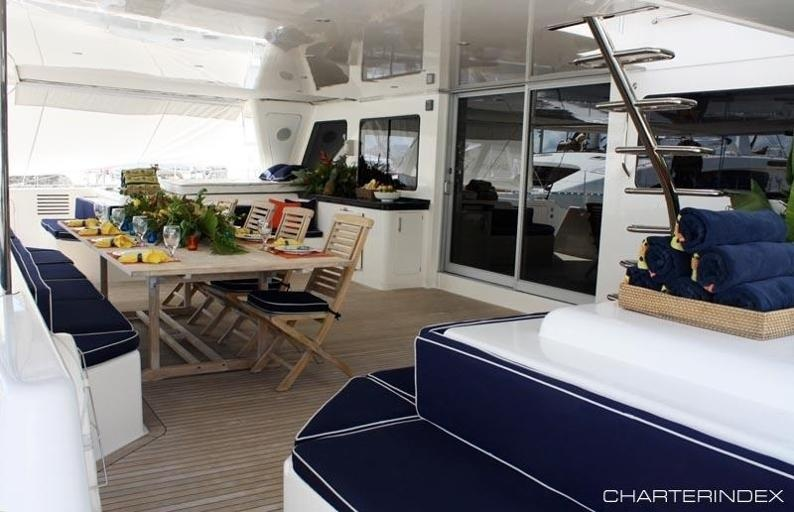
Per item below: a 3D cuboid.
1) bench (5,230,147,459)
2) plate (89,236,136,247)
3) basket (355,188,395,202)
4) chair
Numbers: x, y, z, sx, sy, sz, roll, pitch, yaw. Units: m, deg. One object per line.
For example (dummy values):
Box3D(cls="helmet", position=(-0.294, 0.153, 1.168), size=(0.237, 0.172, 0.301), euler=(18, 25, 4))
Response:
Box3D(cls="bench", position=(-1.554, 0.388, 2.470), size=(0.366, 0.502, 1.535), euler=(-8, 24, -34))
Box3D(cls="plate", position=(-2.402, -0.112, 4.153), size=(0.225, 0.058, 0.189), euler=(1, 10, -2))
Box3D(cls="basket", position=(-0.309, -0.881, 7.190), size=(0.263, 0.090, 0.514), euler=(-5, 13, -32))
Box3D(cls="chair", position=(-1.208, 0.401, 4.341), size=(0.800, 1.033, 1.818), euler=(7, 4, -31))
